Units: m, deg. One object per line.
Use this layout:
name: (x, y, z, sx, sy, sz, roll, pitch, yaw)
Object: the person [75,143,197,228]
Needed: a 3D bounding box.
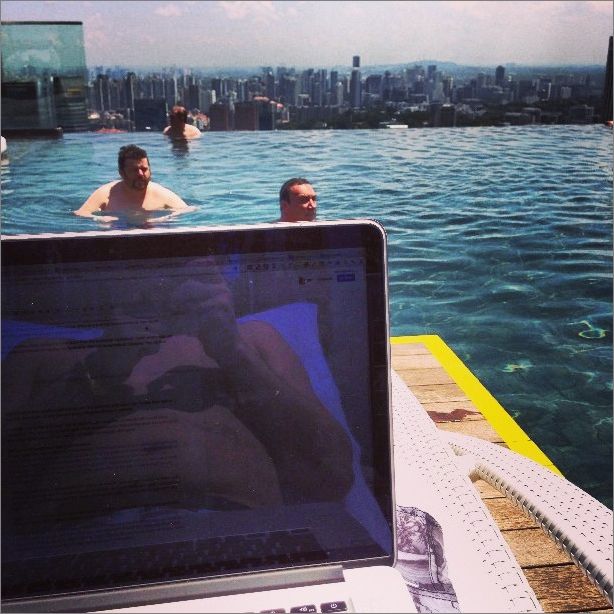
person: (-1.403, -0.989, 4.940, 1.007, 0.601, 0.509, -1, 12, -21)
